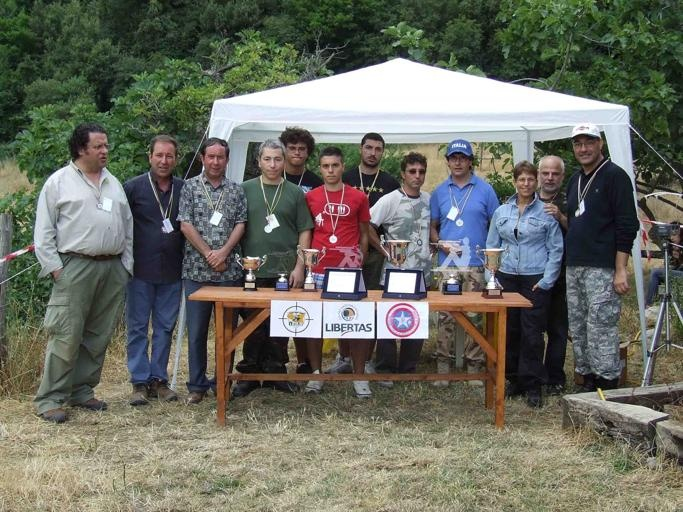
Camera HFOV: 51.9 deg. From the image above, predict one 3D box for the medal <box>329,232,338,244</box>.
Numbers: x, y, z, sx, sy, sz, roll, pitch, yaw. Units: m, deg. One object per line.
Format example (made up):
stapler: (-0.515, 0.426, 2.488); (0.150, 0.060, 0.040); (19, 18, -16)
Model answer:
medal: (-0.075, -0.171, 6.773); (0.077, 0.086, 0.041); (0, 12, -1)

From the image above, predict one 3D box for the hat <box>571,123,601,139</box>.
hat: (2.273, -1.170, 6.503); (0.204, 0.126, 0.294); (7, 14, 32)

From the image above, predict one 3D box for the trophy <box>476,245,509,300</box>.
trophy: (1.320, 0.139, 6.152); (0.254, 0.454, 0.229); (-2, 3, -11)

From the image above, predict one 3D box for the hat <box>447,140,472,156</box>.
hat: (1.203, -1.101, 7.152); (0.263, 0.174, 0.322); (1, 12, 6)

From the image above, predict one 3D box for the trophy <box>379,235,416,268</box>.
trophy: (0.501, -0.027, 6.284); (0.310, 0.280, 0.247); (0, -2, 0)

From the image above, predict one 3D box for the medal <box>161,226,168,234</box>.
medal: (-1.656, -0.249, 6.591); (0.049, 0.065, 0.007); (-22, -2, -15)

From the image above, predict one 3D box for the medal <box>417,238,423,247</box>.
medal: (0.771, -0.139, 7.001); (0.099, 0.059, 0.030); (-8, 14, -33)

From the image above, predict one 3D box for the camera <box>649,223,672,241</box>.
camera: (3.004, -0.235, 6.612); (0.244, 0.221, 0.180); (1, -2, 17)

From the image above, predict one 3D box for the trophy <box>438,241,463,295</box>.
trophy: (0.992, 0.156, 6.235); (0.251, 0.380, 0.252); (3, -6, -21)

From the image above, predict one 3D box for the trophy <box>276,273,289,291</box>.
trophy: (-0.524, 0.240, 6.343); (0.135, 0.139, 0.137); (0, 4, -1)

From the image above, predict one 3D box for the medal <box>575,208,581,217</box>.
medal: (2.201, -0.407, 6.533); (0.018, 0.054, 0.053); (17, -9, -27)
